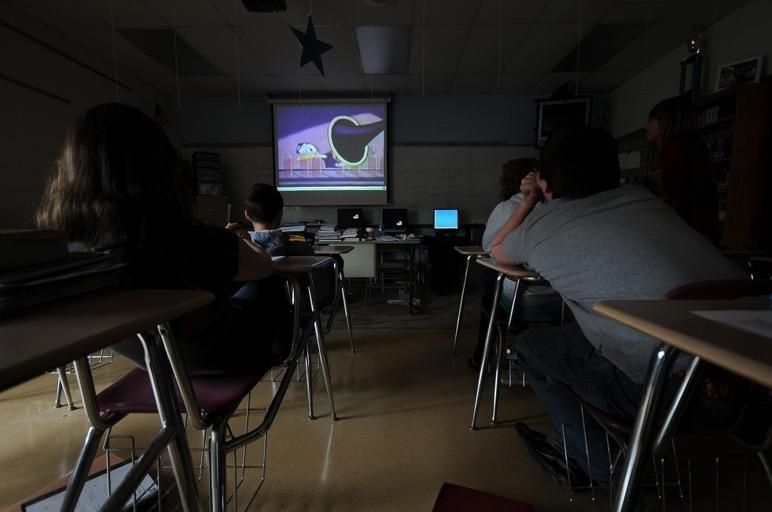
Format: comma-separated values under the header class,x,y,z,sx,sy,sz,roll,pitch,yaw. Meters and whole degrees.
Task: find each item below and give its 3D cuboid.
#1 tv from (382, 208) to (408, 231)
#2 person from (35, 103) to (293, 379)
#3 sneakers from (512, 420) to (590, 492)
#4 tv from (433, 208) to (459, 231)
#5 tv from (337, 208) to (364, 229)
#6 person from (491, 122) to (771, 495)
class,x,y,z,sx,sy,sz,roll,pitch,yaw
tv,0.103,-0.486,7.163,0.300,0.267,0.104,0,6,-1
person,-1.225,-0.088,3.072,1.094,1.425,1.377,1,7,10
sneakers,0.952,1.127,3.079,0.553,0.145,0.262,27,33,5
tv,0.775,-0.494,7.251,0.502,0.397,0.251,1,7,3
tv,-0.498,-0.504,7.172,0.413,0.291,0.246,-1,-2,4
person,1.130,0.308,2.782,0.727,1.949,1.260,-10,13,-36
